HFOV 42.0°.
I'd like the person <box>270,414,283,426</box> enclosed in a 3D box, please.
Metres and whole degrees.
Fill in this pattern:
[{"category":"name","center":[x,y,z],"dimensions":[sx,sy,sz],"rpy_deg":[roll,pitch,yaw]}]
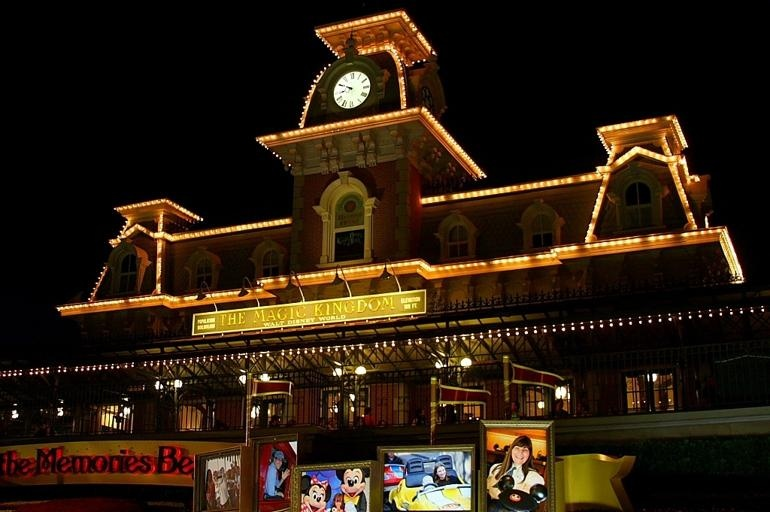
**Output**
[{"category":"person","center":[-4.476,6.710,40.881],"dimensions":[0.493,0.504,0.914],"rpy_deg":[0,-5,-4]}]

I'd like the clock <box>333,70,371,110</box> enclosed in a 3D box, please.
[{"category":"clock","center":[-1.598,-7.888,46.856],"dimensions":[2.155,2.214,0.126],"rpy_deg":[2,-20,22]}]
